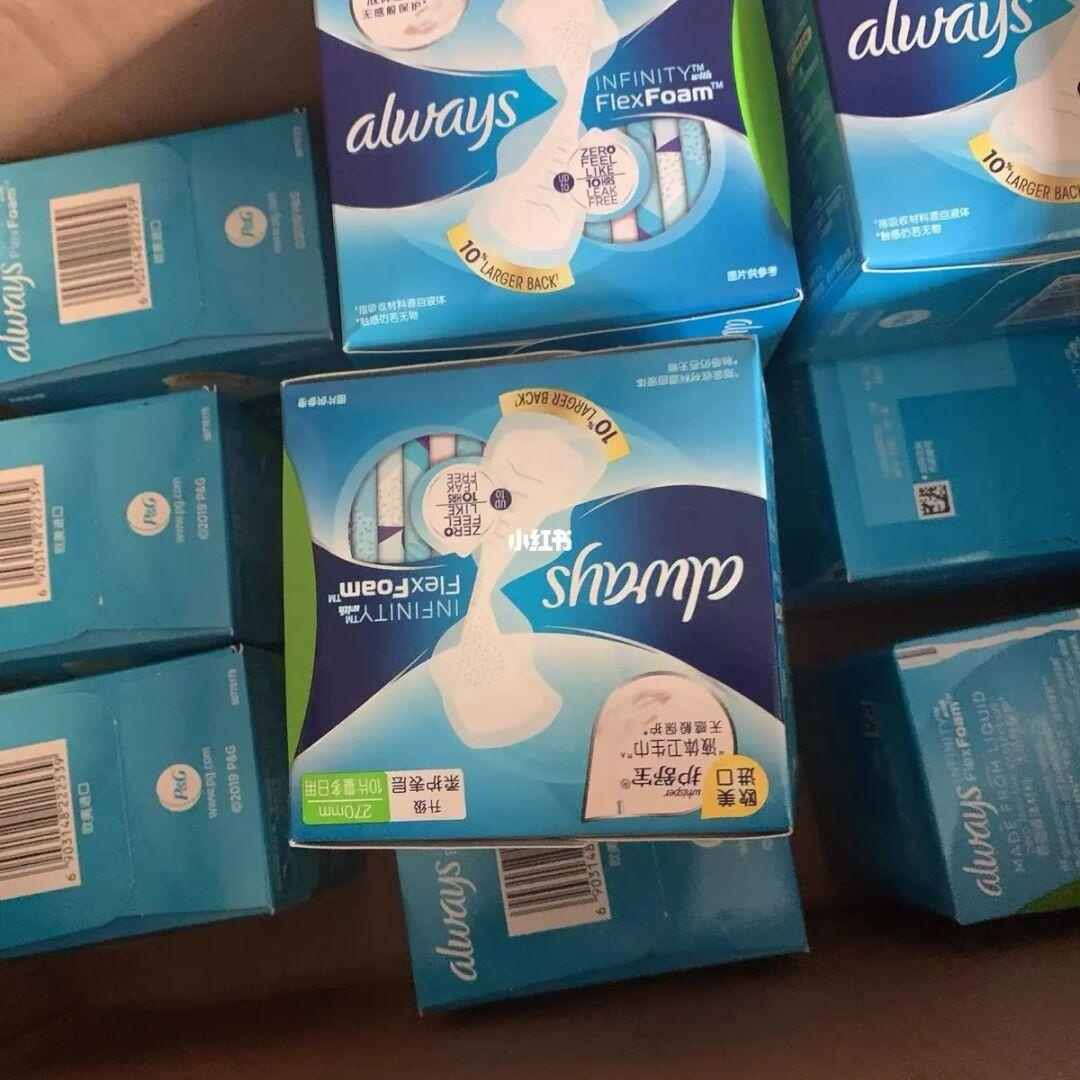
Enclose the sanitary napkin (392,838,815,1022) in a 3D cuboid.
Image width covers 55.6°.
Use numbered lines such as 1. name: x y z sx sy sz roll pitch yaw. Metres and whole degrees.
1. sanitary napkin: 0.057 0.349 0.972 0.378 0.142 0.019 -7 -4 4
